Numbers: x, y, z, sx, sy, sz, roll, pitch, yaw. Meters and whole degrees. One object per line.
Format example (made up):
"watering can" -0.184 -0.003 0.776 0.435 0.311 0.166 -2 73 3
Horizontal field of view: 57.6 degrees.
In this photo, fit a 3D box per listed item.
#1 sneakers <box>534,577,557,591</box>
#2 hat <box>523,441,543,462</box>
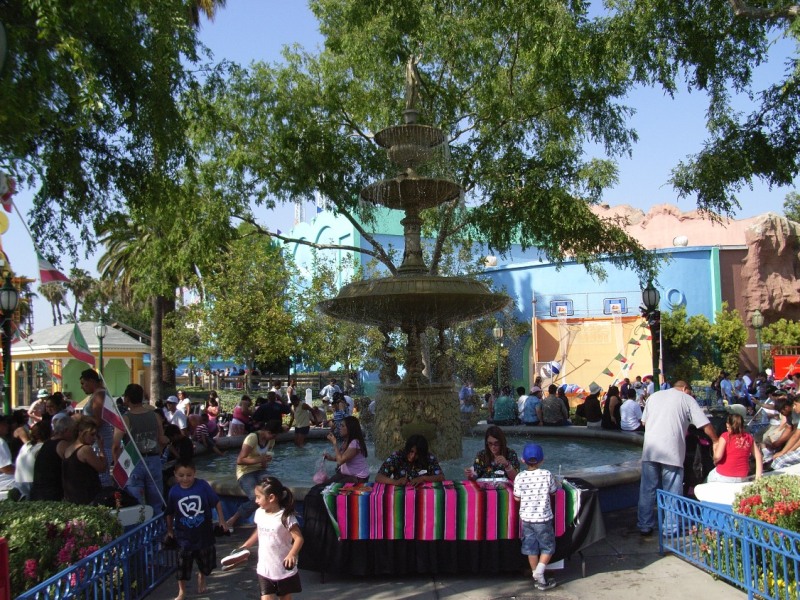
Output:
"sneakers" 1.707 3.357 8.571 0.254 0.201 0.097 -3 3 -22
"hat" 1.650 1.921 9.068 0.236 0.233 0.380 1 5 8
